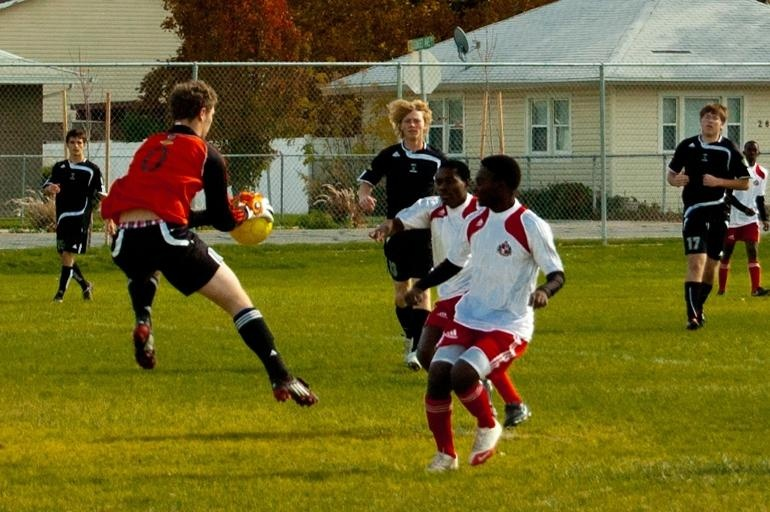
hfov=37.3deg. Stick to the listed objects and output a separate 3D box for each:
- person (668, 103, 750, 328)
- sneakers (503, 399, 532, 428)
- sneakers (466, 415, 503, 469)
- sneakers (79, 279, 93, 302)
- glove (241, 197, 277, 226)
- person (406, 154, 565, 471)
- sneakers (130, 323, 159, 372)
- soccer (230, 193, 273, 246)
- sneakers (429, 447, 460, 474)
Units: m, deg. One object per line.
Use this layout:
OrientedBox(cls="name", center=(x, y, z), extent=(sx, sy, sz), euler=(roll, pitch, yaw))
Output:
OrientedBox(cls="person", center=(4.147, -0.499, 14.738), extent=(0.924, 2.863, 1.189), euler=(8, 15, 32))
OrientedBox(cls="sneakers", center=(1.258, 1.514, 10.757), extent=(0.141, 0.167, 0.340), euler=(-9, -5, 29))
OrientedBox(cls="sneakers", center=(0.972, 1.728, 10.438), extent=(0.185, 0.517, 0.246), euler=(27, 2, 36))
OrientedBox(cls="sneakers", center=(-4.327, 0.548, 16.488), extent=(0.118, 0.363, 0.154), euler=(-24, -40, 24))
OrientedBox(cls="glove", center=(-1.306, -0.497, 11.824), extent=(0.305, 0.275, 0.222), euler=(-30, 32, -23))
OrientedBox(cls="person", center=(0.963, 0.521, 10.530), extent=(1.261, 2.779, 0.921), euler=(-5, 14, -20))
OrientedBox(cls="sneakers", center=(-2.299, 0.880, 10.769), extent=(0.166, 0.407, 0.233), euler=(-3, 8, 24))
OrientedBox(cls="soccer", center=(-1.400, -0.375, 11.924), extent=(0.496, 0.566, 0.508), euler=(7, 2, -1))
OrientedBox(cls="sneakers", center=(0.545, 1.921, 10.406), extent=(0.286, 0.151, 0.132), euler=(0, -3, -11))
